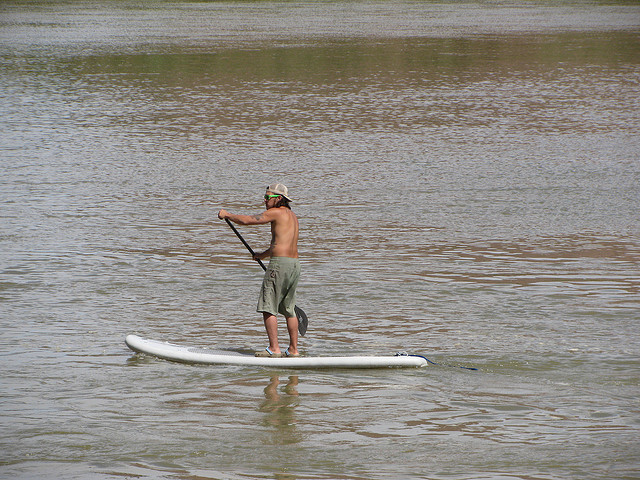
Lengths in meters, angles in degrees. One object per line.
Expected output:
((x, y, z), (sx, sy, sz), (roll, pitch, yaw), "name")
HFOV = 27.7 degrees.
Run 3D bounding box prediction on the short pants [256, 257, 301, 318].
((-0.486, 0.548, 14.730), (0.469, 0.690, 0.435), (-1, 31, 1), "short pants")
